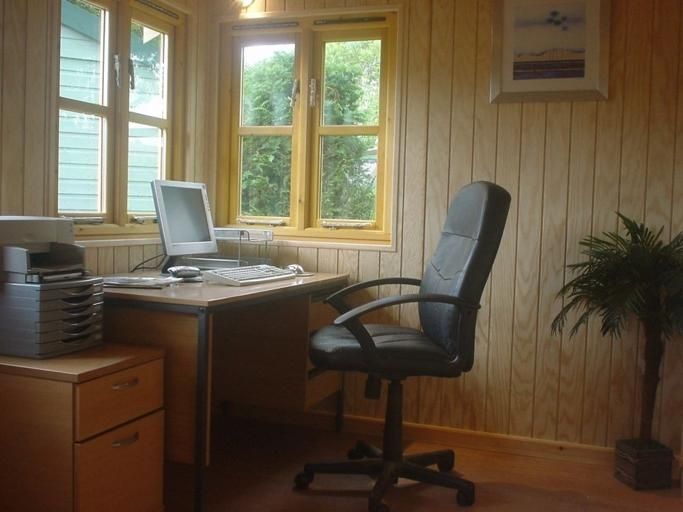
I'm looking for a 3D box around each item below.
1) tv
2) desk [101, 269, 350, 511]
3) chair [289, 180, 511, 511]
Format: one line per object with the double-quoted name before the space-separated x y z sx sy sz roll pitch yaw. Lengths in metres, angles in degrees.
"tv" -0.871 -0.143 3.231 0.272 0.591 0.512 -2 2 25
"desk" -0.548 0.614 2.781 0.349 0.641 1.017 2 4 12
"chair" 0.369 0.457 3.615 1.344 2.235 1.315 1 -3 3
